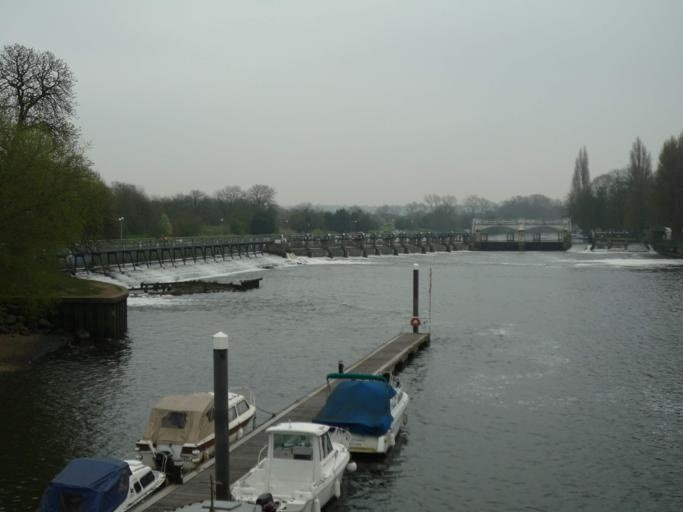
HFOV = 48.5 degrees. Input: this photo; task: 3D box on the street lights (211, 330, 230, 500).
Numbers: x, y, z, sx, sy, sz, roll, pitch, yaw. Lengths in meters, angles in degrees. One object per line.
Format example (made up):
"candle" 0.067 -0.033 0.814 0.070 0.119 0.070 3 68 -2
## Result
"street lights" -4.524 6.105 28.331 0.541 6.478 0.611 -1 8 -13
